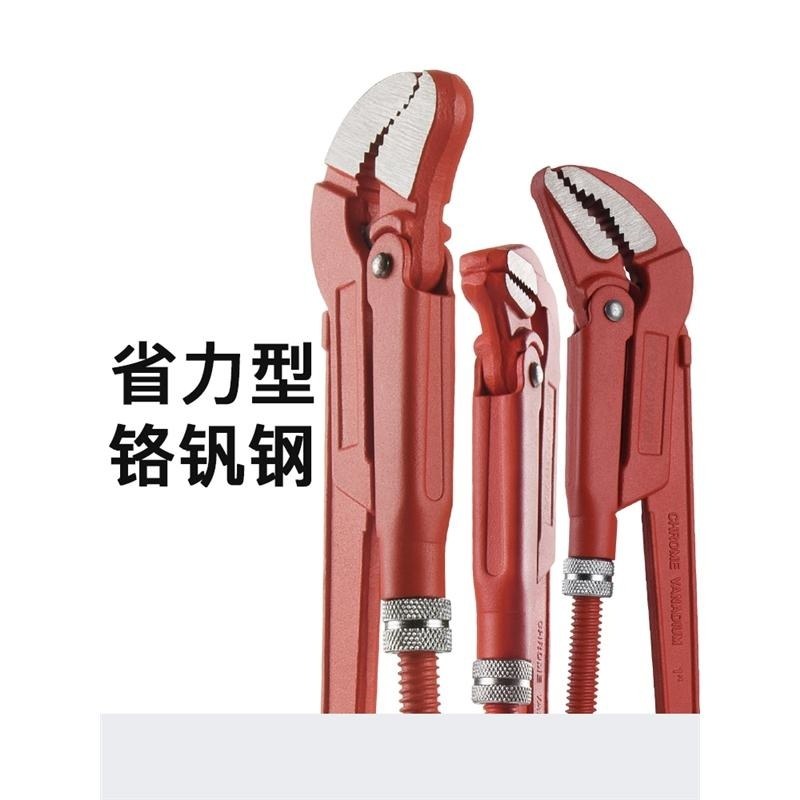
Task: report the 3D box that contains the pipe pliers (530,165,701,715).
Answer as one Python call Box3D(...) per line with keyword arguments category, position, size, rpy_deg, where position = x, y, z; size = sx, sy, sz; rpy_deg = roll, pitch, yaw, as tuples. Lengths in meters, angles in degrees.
Box3D(category="pipe pliers", position=(0.329, 0.049, 1.793), size=(0.243, 0.805, 0.156), rpy_deg=(0, -17, -3))

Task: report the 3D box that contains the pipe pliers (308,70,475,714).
Box3D(category="pipe pliers", position=(-0.021, -0.014, 1.559), size=(0.159, 0.816, 0.301), rpy_deg=(9, -19, -29))
